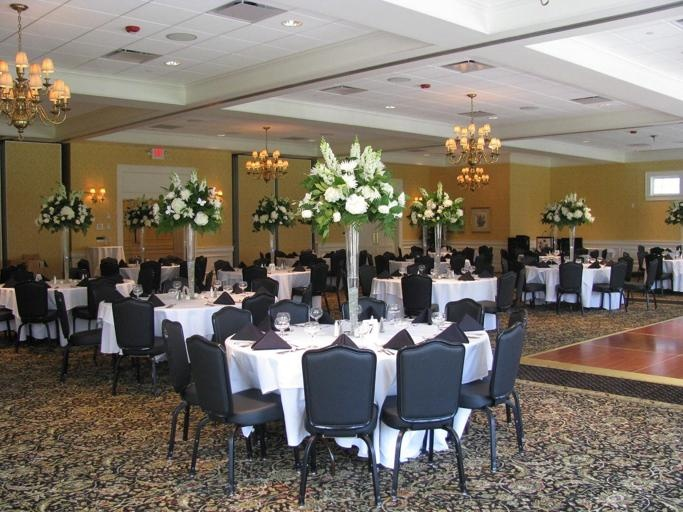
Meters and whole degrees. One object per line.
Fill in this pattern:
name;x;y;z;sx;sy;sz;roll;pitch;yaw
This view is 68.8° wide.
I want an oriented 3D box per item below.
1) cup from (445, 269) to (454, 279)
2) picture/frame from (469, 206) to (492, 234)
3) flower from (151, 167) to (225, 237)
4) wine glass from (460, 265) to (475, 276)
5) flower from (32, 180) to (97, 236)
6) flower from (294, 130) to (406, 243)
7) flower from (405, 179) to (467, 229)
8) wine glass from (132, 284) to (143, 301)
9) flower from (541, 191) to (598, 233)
cup;2.054;0.353;9.306;0.142;0.246;0.139;0;-12;0
picture/frame;5.365;-1.409;19.067;0.050;1.169;1.070;-4;6;-42
flower;-2.262;-0.668;7.058;1.178;0.970;1.155;-3;-1;9
wine glass;2.566;0.296;10.165;0.202;0.310;0.207;0;-11;-4
flower;-5.077;-0.872;9.143;0.795;0.868;0.584;2;6;26
flower;0.097;-0.644;4.521;0.901;0.875;0.886;-9;13;-37
flower;2.037;-1.101;10.667;1.033;0.899;0.927;0;5;8
wine glass;-2.795;0.504;6.815;0.129;0.181;0.130;-13;-16;36
flower;5.505;-1.068;12.087;0.747;0.826;1.232;0;4;4
